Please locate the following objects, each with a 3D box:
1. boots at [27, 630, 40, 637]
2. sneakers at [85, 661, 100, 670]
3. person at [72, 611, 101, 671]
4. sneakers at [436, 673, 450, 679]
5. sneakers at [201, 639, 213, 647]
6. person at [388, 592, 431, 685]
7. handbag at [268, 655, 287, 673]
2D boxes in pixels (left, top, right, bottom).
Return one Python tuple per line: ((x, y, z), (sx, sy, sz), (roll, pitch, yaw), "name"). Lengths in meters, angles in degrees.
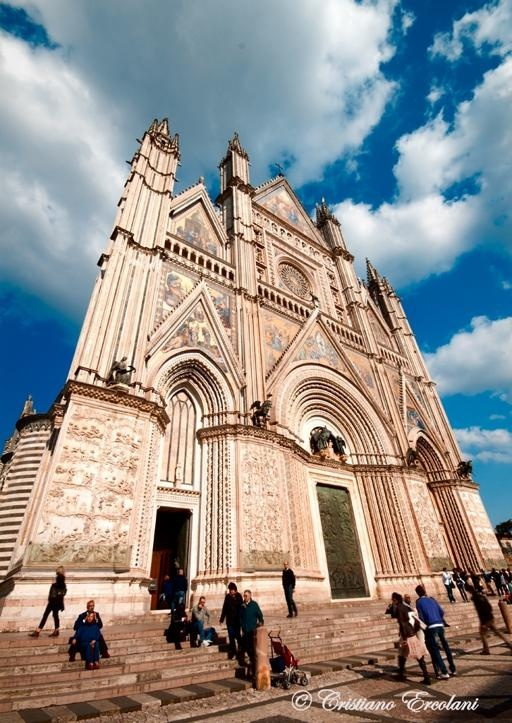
((-3.824, 4.745, 7.014), (0.288, 0.101, 0.085), (-17, -42, 23), "boots")
((-2.387, 4.471, 5.928), (0.197, 0.102, 0.134), (3, -29, -11), "sneakers")
((-2.530, 4.237, 6.162), (0.389, 0.726, 0.356), (2, -32, -11), "person")
((2.762, 4.719, 6.051), (0.178, 0.071, 0.158), (-11, -28, 14), "sneakers")
((-0.915, 5.253, 7.512), (0.100, 0.102, 0.258), (17, -40, -21), "sneakers")
((2.365, 4.404, 6.501), (0.491, 1.215, 1.416), (-12, -29, 10), "person")
((0.305, 4.816, 6.449), (0.334, 0.228, 0.291), (3, -40, -3), "handbag")
